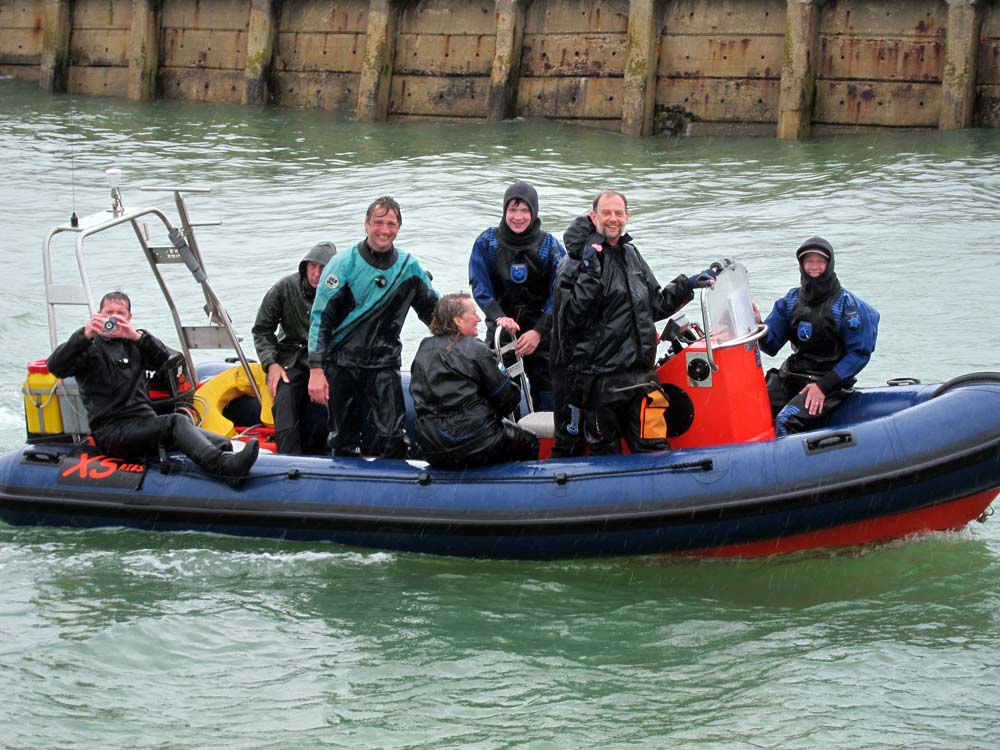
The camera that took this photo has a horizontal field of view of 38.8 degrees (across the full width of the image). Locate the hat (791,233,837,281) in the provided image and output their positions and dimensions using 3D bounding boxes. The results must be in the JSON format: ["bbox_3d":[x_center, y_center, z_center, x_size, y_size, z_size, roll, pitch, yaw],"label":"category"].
[{"bbox_3d":[2.062,-0.767,9.325,0.224,0.266,0.332,0,4,8],"label":"hat"}]

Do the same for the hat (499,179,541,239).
[{"bbox_3d":[0.138,-1.052,9.356,0.257,0.413,0.270,0,5,2],"label":"hat"}]

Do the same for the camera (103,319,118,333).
[{"bbox_3d":[-2.378,-0.307,8.730,0.066,0.074,0.077,26,-40,-20],"label":"camera"}]

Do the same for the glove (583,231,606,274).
[{"bbox_3d":[0.559,-0.726,8.547,0.156,0.203,0.107,6,-1,1],"label":"glove"}]

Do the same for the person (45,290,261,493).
[{"bbox_3d":[-2.067,0.134,8.881,1.526,1.024,0.903,7,11,27],"label":"person"}]

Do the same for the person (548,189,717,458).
[{"bbox_3d":[0.828,-0.117,8.643,1.202,1.716,0.885,-3,14,7],"label":"person"}]

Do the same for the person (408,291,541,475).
[{"bbox_3d":[-0.167,0.041,8.708,0.754,1.078,0.306,-1,5,-3],"label":"person"}]

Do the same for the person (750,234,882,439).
[{"bbox_3d":[2.042,-0.260,9.246,0.742,1.240,0.384,1,5,19],"label":"person"}]
